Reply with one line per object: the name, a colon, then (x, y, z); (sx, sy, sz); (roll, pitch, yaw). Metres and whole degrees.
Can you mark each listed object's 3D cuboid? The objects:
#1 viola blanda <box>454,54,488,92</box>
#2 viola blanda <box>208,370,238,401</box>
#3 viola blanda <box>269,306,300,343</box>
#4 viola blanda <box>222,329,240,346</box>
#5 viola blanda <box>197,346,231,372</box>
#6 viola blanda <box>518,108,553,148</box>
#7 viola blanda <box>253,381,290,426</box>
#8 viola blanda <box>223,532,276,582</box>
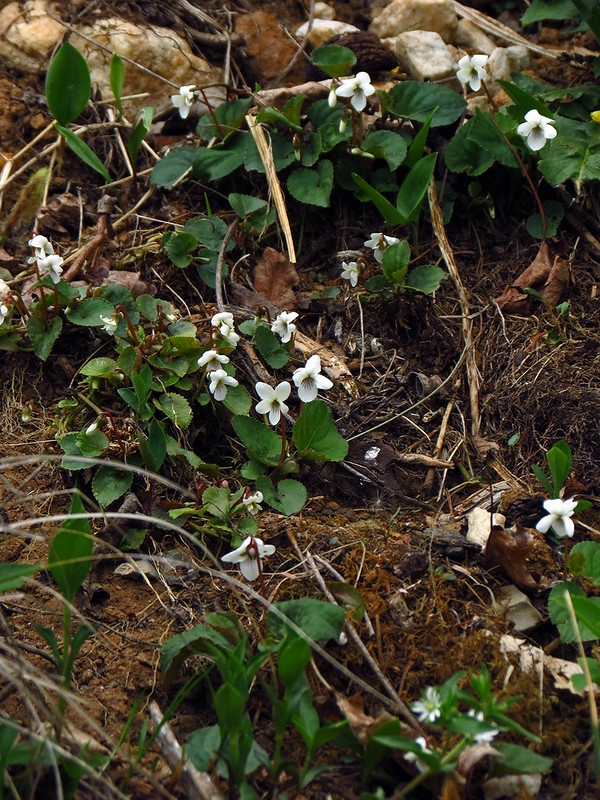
viola blanda: (0.632, -1.203, 2.818); (0.092, 0.126, 0.122); (13, 39, 13)
viola blanda: (-0.235, -0.043, 2.312); (0.055, 0.100, 0.071); (-25, 46, -29)
viola blanda: (-0.041, -0.247, 2.492); (0.114, 0.097, 0.052); (-8, 14, 23)
viola blanda: (-0.208, -0.193, 2.416); (0.057, 0.034, 0.028); (47, 35, -11)
viola blanda: (-0.265, -0.114, 2.340); (0.087, 0.097, 0.089); (-1, 38, -5)
viola blanda: (0.807, -0.908, 2.605); (0.165, 0.139, 0.071); (1, 13, 11)
viola blanda: (-0.073, 0.002, 2.193); (0.117, 0.122, 0.052); (3, 19, 8)
viola blanda: (-0.124, 0.387, 1.876); (0.136, 0.136, 0.059); (-18, 78, -12)
